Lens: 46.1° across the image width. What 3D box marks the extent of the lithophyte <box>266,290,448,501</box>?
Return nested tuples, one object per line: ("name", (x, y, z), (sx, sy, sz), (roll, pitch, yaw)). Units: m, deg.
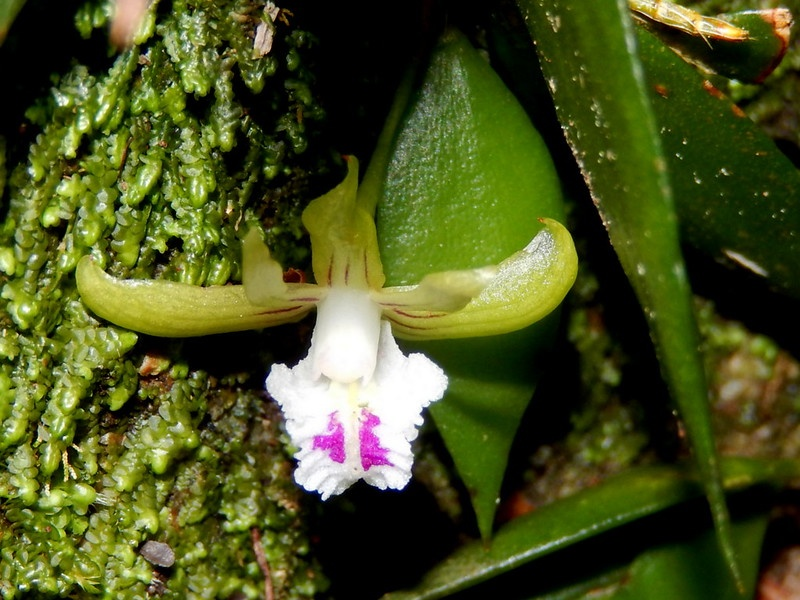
("lithophyte", (-0.077, 0.169, 1.639), (0.316, 0.326, 0.171), (-2, 41, -2))
